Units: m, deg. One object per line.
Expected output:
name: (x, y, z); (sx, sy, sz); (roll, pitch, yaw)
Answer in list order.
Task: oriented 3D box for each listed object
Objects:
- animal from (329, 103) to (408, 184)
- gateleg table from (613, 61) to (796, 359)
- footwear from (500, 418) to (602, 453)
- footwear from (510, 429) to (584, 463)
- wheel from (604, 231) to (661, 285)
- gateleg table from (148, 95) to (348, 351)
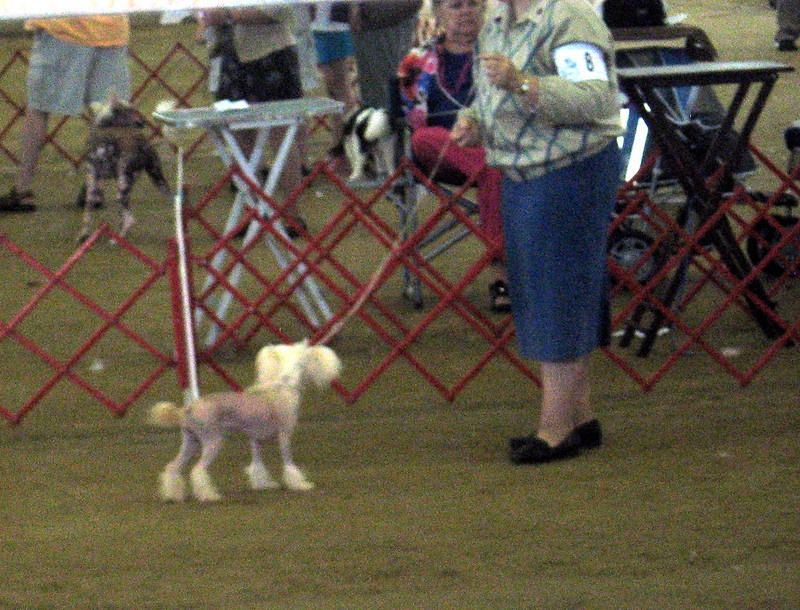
animal: (-0.152, -0.902, 6.108); (0.303, 0.349, 0.793); (-2, -7, -8)
gateleg table: (1.644, -0.543, 5.680); (0.928, 1.488, 1.034); (0, 20, 10)
footwear: (0.700, 0.576, 4.785); (0.461, 0.138, 0.151); (0, -1, -32)
footwear: (0.650, 0.616, 4.700); (0.297, 0.085, 0.142); (-1, 2, -6)
wheel: (1.230, -0.253, 5.650); (0.433, 0.313, 0.152); (3, 4, 0)
gateleg table: (-0.798, -0.514, 6.029); (0.942, 1.277, 1.328); (-6, 19, -8)
